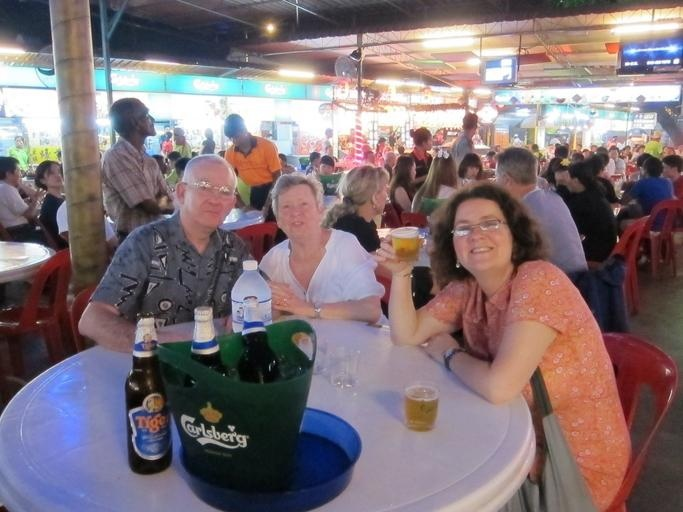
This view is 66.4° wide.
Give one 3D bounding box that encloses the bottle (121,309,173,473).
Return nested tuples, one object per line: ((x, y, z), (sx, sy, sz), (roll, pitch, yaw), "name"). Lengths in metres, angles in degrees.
((-0.478, 0.332, 1.265), (0.108, 0.386, 0.106), (0, 16, 0), "bottle")

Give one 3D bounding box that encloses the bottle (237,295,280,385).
((-0.213, 0.229, 1.272), (0.088, 0.243, 0.090), (-7, -14, -2), "bottle")

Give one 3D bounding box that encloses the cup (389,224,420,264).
((0.241, -0.041, 1.957), (0.098, 0.128, 0.127), (-9, 8, -15), "cup")

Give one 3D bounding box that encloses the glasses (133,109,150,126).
((-1.453, -1.008, 3.804), (0.073, 0.102, 0.099), (9, 9, 22), "glasses")

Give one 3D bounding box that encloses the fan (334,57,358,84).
((-0.001, -4.223, 11.547), (0.606, 0.633, 0.221), (2, 0, -39), "fan")

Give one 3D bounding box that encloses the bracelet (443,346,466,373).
((0.377, 0.341, 1.798), (0.053, 0.078, 0.083), (18, 16, 21), "bracelet")

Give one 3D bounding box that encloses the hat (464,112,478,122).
((1.841, -1.967, 7.403), (0.142, 0.049, 0.146), (7, 30, 29), "hat")

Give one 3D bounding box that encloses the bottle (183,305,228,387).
((-0.312, 0.243, 1.208), (0.086, 0.236, 0.086), (-1, -4, 0), "bottle")

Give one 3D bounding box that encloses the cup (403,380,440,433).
((0.228, 0.427, 1.492), (0.140, 0.119, 0.144), (2, -5, 0), "cup")

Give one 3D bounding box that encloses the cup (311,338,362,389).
((-0.012, 0.355, 1.748), (0.119, 0.094, 0.120), (0, 6, 0), "cup")
